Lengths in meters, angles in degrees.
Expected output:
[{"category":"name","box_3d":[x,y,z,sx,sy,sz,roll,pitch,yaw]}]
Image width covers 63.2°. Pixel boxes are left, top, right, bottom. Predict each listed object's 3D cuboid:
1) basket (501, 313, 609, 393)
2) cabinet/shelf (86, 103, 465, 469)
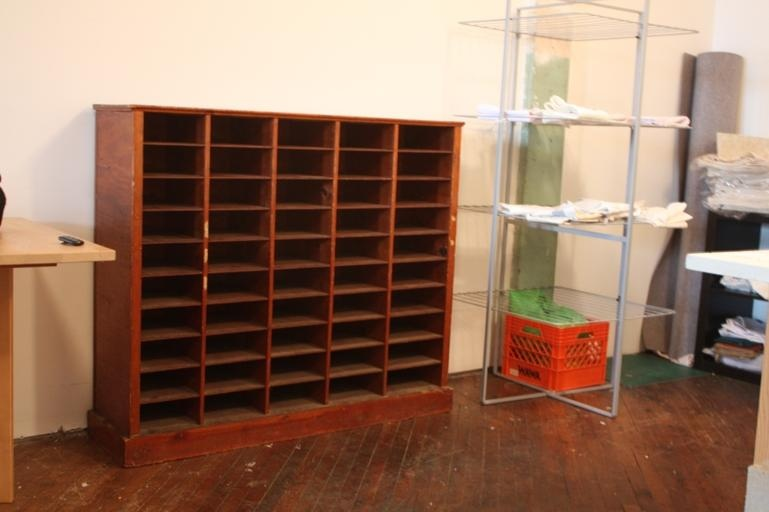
[{"category":"basket","box_3d":[1.502,0.771,5.334,0.777,0.512,0.754,1,2,-37]},{"category":"cabinet/shelf","box_3d":[-0.810,0.224,4.257,2.685,2.214,0.828,-2,4,-33]}]
